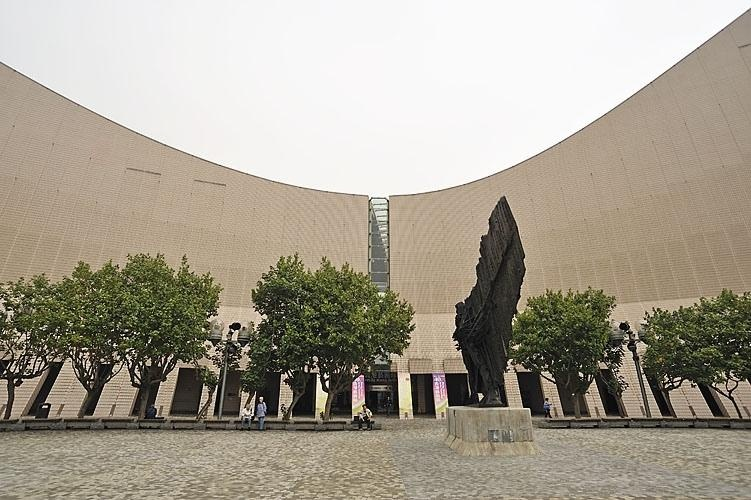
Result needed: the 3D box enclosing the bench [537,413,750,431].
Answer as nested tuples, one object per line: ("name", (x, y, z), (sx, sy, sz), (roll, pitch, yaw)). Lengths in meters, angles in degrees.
("bench", (17.630, 11.322, 23.946), (11.887, 0.574, 1.641), (-4, -22, 8))
